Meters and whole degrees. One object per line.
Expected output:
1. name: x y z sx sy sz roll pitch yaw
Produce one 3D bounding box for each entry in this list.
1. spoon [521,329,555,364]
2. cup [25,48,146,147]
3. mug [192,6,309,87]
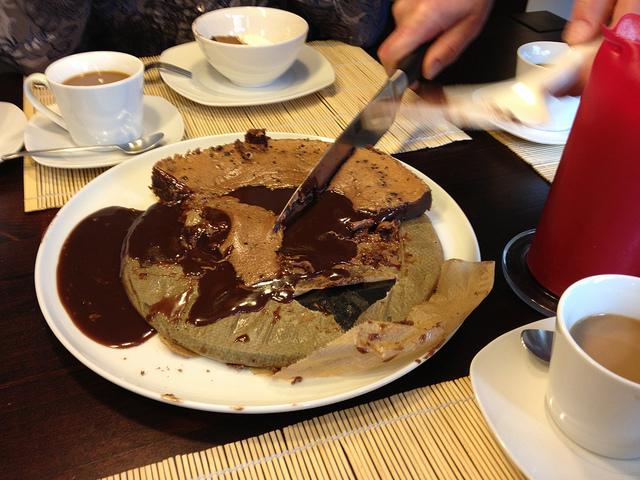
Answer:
1. spoon: 0.357 0.169 0.774 0.051 0.021 0.060 -3 32 -2
2. cup: -0.580 -0.345 1.169 0.283 0.175 0.202 -11 49 -21
3. mug: -0.256 -0.639 1.465 0.513 0.230 0.276 -14 33 -18
